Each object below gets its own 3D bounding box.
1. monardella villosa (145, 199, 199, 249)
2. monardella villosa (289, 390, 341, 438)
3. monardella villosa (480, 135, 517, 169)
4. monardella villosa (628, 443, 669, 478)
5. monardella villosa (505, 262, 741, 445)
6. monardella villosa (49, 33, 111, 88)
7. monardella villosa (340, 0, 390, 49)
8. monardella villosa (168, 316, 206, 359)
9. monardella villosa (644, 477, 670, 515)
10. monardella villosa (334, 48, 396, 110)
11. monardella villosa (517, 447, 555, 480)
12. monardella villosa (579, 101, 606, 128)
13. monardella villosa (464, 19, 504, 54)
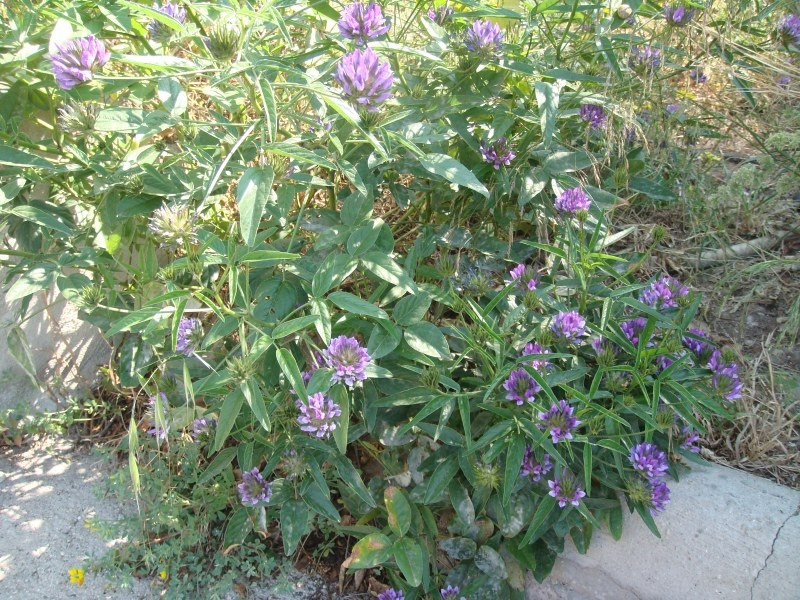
[{"bbox_3d":[-0.806,-0.280,1.999,0.157,0.105,0.162,22,56,18],"label":"monardella villosa"},{"bbox_3d":[-0.291,0.396,2.001,0.157,0.175,0.093,27,3,6],"label":"monardella villosa"},{"bbox_3d":[0.403,-0.611,2.351,0.129,0.137,0.077,-22,6,5],"label":"monardella villosa"},{"bbox_3d":[0.879,0.582,2.080,0.134,0.085,0.133,3,56,-3],"label":"monardella villosa"},{"bbox_3d":[0.834,0.189,2.352,0.725,0.362,0.771,-14,69,-14],"label":"monardella villosa"},{"bbox_3d":[-1.102,-0.805,2.016,0.181,0.116,0.189,-13,65,24],"label":"monardella villosa"},{"bbox_3d":[-0.135,-0.986,2.022,0.173,0.140,0.180,-16,40,-16],"label":"monardella villosa"},{"bbox_3d":[-0.805,0.140,2.210,0.125,0.158,0.145,6,13,-12],"label":"monardella villosa"},{"bbox_3d":[0.933,0.694,2.067,0.075,0.127,0.124,4,-8,35],"label":"monardella villosa"},{"bbox_3d":[-0.115,-0.727,1.911,0.179,0.223,0.165,27,47,33],"label":"monardella villosa"},{"bbox_3d":[0.496,0.586,2.060,0.105,0.138,0.084,11,40,17],"label":"monardella villosa"},{"bbox_3d":[0.840,-0.810,2.476,0.099,0.103,0.062,1,-5,-7],"label":"monardella villosa"},{"bbox_3d":[0.334,-1.062,2.264,0.144,0.096,0.179,2,39,6],"label":"monardella villosa"}]
